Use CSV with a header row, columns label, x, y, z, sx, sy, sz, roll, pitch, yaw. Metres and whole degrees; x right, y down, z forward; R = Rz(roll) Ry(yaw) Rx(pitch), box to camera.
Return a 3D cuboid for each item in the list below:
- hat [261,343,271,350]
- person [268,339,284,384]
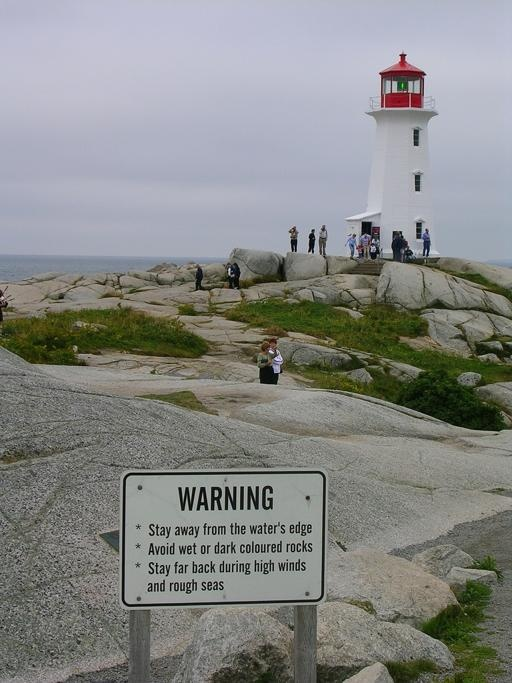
label,x,y,z,sx,sy,sz,roll,pitch,yaw
hat,0.304,0.137,18.408,0.199,0.230,0.264,2,-19,-3
person,0.609,0.600,18.505,0.297,1.114,0.953,3,-1,15
